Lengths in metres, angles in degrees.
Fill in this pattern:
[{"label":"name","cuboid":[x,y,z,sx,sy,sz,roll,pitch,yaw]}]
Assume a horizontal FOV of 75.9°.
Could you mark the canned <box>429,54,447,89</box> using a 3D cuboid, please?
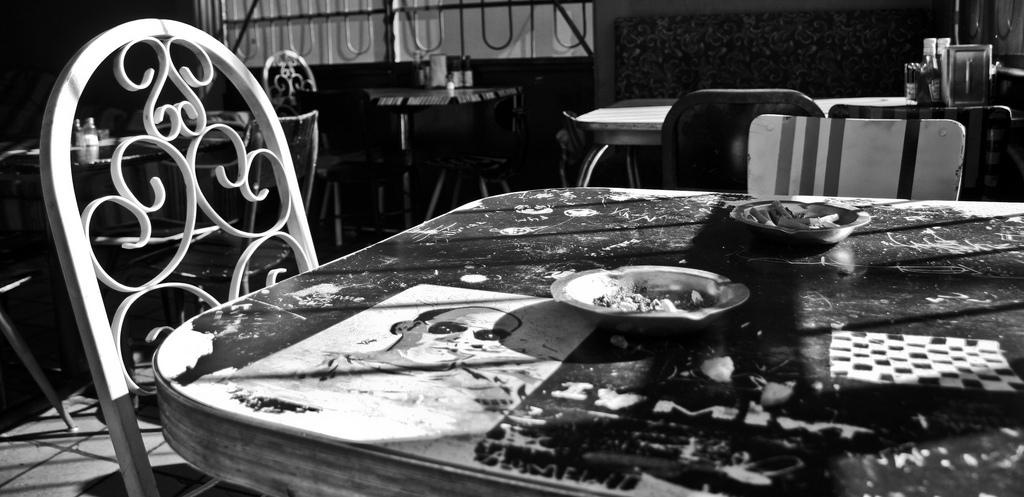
[{"label":"canned","cuboid":[-0.571,-1.459,5.484,0.184,0.272,0.175,2,14,-1]}]
